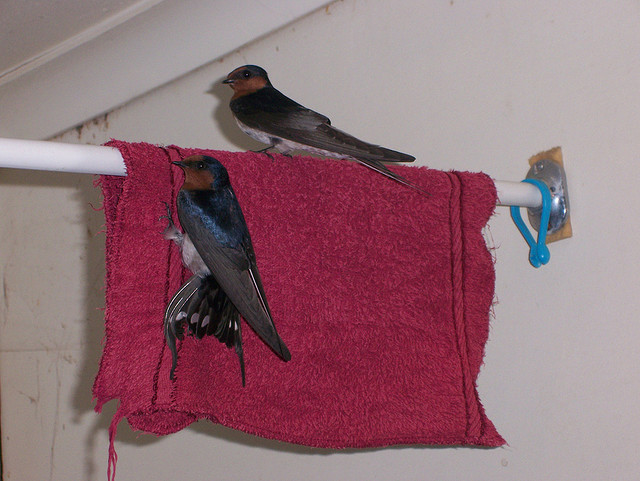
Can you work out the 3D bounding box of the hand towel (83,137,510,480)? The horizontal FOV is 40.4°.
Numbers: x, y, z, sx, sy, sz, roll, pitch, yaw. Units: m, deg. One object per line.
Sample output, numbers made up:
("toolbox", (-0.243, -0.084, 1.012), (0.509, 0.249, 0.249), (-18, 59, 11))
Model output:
("hand towel", (-0.003, 0.114, 1.603), (0.712, 0.575, 0.099), (0, 0, -20))
